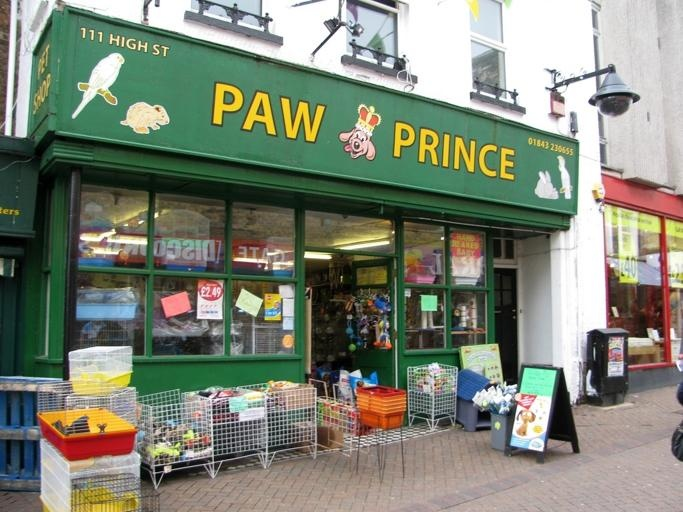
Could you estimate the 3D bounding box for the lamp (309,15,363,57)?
[{"bbox_3d":[0.049,-3.406,9.368,0.522,0.560,0.936,1,0,33],"label":"lamp"}]
